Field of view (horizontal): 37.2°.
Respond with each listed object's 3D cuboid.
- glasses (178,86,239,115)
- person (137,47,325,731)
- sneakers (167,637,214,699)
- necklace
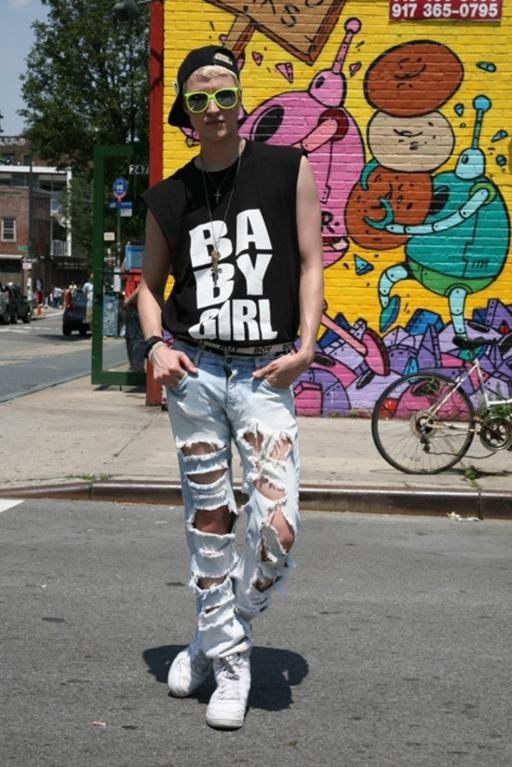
[{"bbox_3d":[-0.128,-0.793,2.133,0.159,0.077,0.091,2,0,1],"label":"glasses"},{"bbox_3d":[-0.100,-0.025,2.166,0.569,1.820,0.288,2,0,15],"label":"person"},{"bbox_3d":[-0.194,0.837,2.343,0.089,0.102,0.236,42,16,-12],"label":"sneakers"},{"bbox_3d":[-0.098,-0.464,2.119,0.114,0.353,0.093,2,0,-5],"label":"necklace"}]
